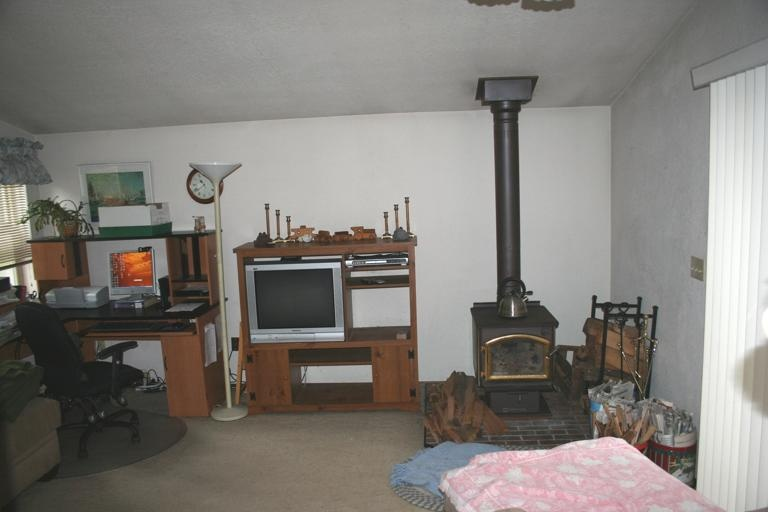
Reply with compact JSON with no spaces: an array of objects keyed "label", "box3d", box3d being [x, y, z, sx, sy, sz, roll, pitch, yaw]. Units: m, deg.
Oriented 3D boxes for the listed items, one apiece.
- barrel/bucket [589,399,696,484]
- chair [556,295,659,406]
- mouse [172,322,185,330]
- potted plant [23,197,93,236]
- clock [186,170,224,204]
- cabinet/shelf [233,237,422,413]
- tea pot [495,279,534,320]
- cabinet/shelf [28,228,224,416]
[{"label":"barrel/bucket","box3d":[2.310,1.659,5.200,0.811,0.421,0.626,-2,0,17]},{"label":"chair","box3d":[2.364,0.920,6.086,0.759,1.264,1.140,-1,20,3]},{"label":"mouse","box3d":[-2.242,0.760,6.291,0.171,0.090,0.089,-2,2,30]},{"label":"potted plant","box3d":[-3.809,-0.443,6.753,0.455,0.360,0.686,13,16,38]},{"label":"clock","box3d":[-2.039,-0.802,6.631,0.460,0.459,0.064,1,5,1]},{"label":"cabinet/shelf","box3d":[-0.623,0.749,6.411,1.921,1.787,0.645,0,4,-1]},{"label":"tea pot","box3d":[1.374,0.437,6.171,0.340,0.407,0.419,-2,2,10]},{"label":"cabinet/shelf","box3d":[-2.802,0.732,6.355,2.028,1.949,0.781,-2,2,2]}]
